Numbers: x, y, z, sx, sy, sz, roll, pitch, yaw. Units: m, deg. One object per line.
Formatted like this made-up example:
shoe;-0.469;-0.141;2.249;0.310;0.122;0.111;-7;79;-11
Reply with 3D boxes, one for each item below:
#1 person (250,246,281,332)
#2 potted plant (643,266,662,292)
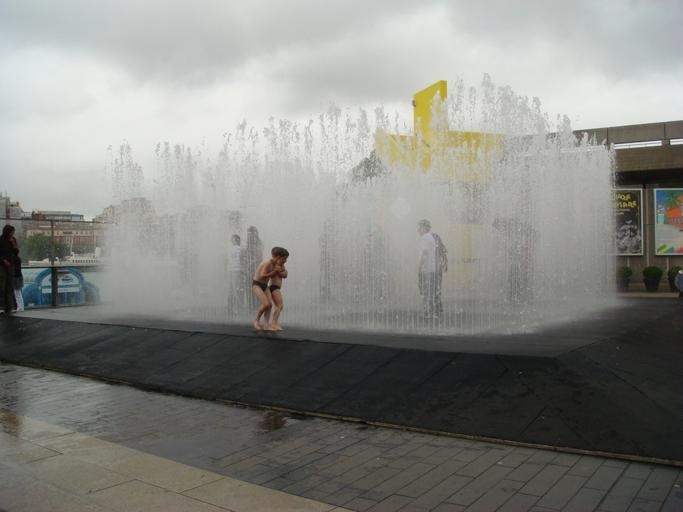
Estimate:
person;-1.259;0.554;11.341;0.497;1.493;1.400;-3;7;-8
potted plant;9.471;0.696;20.418;0.486;0.746;0.487;2;8;25
